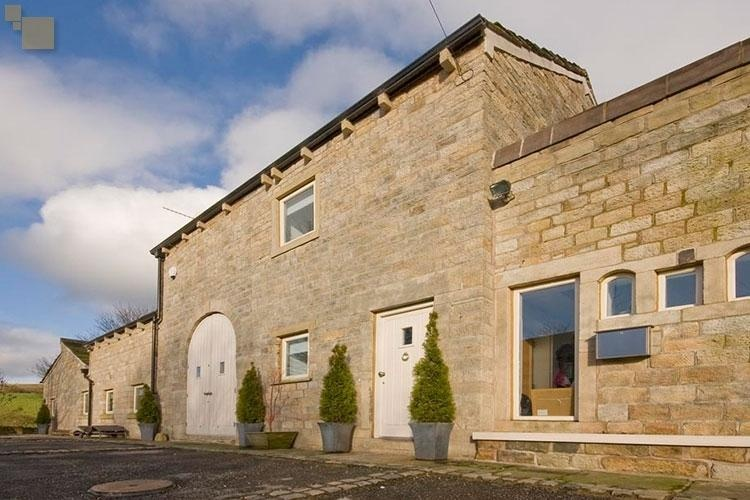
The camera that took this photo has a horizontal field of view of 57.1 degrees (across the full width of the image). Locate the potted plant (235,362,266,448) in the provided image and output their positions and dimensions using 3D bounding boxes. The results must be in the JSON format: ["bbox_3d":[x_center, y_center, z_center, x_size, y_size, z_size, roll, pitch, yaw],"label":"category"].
[{"bbox_3d":[-3.067,3.925,17.087,0.667,1.823,0.717,-8,-15,22],"label":"potted plant"}]

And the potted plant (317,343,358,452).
[{"bbox_3d":[-0.767,3.183,14.716,0.802,2.189,0.431,2,-19,-3],"label":"potted plant"}]

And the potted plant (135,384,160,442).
[{"bbox_3d":[-7.141,5.169,21.890,0.886,1.756,0.534,-12,-23,33],"label":"potted plant"}]

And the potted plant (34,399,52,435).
[{"bbox_3d":[-15.217,7.797,31.742,0.663,1.281,0.500,-15,-24,37],"label":"potted plant"}]

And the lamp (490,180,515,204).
[{"bbox_3d":[2.453,-1.113,13.392,0.347,0.471,0.179,-2,25,23],"label":"lamp"}]

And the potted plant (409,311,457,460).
[{"bbox_3d":[1.088,2.563,13.159,0.877,2.816,0.416,-1,-19,4],"label":"potted plant"}]
